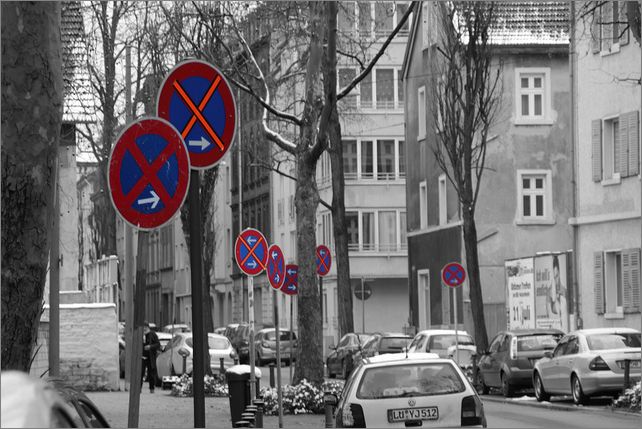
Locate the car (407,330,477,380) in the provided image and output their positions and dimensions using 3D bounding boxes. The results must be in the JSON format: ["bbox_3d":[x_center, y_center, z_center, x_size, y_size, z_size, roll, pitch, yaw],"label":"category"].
[{"bbox_3d":[3.930,5.038,39.660,1.929,2.216,4.020,-3,-4,-9],"label":"car"}]

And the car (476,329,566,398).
[{"bbox_3d":[6.085,4.697,35.787,1.960,2.277,4.274,2,-5,-8],"label":"car"}]

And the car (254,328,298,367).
[{"bbox_3d":[-2.376,7.016,57.470,1.815,2.015,3.583,0,1,-7],"label":"car"}]
